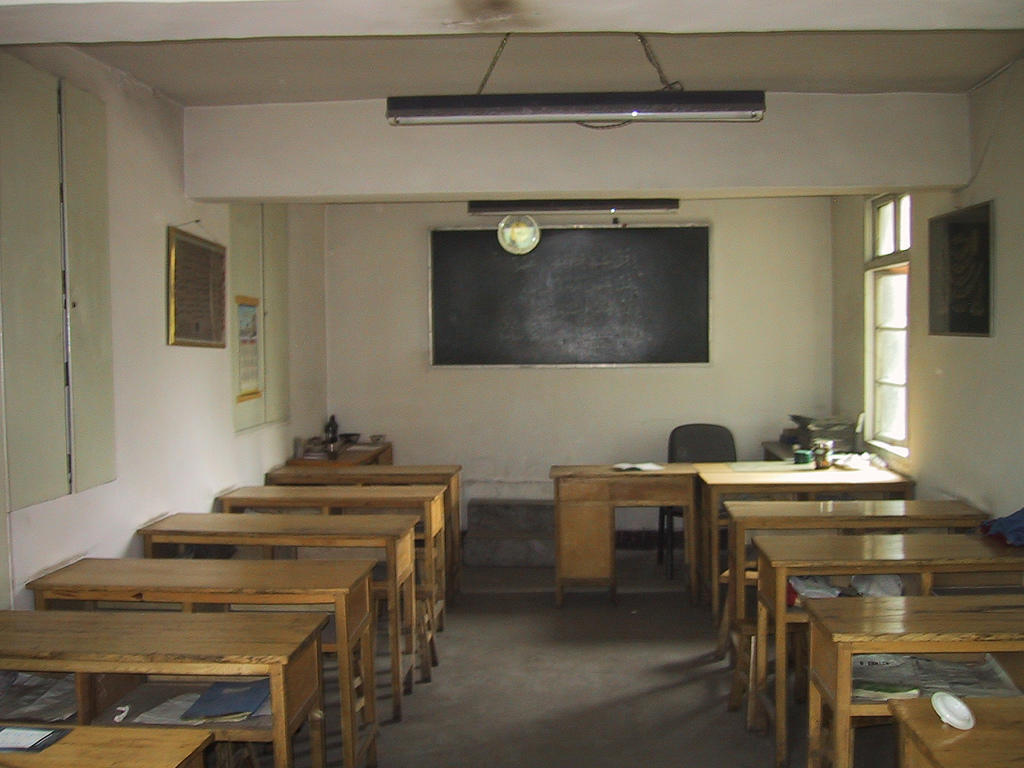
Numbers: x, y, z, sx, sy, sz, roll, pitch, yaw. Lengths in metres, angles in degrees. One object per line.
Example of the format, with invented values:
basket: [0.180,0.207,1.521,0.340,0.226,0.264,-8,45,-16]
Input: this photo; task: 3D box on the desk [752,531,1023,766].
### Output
desk: [1.535,1.082,3.493,0.961,0.847,0.690,-1,11,-1]

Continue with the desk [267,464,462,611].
desk: [-1.002,1.140,6.011,1.817,1.121,0.829,0,10,1]

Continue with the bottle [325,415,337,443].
bottle: [-1.428,0.371,6.760,0.088,0.082,0.203,0,-37,-22]

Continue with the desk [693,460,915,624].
desk: [1.863,1.095,5.342,1.270,0.665,0.799,-2,27,7]

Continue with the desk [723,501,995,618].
desk: [1.882,1.002,4.855,1.296,0.598,0.680,-1,-1,11]

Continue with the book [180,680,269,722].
book: [-1.031,1.164,3.160,0.285,0.060,0.233,1,8,8]

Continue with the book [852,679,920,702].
book: [1.433,1.188,3.295,0.182,0.041,0.126,-1,0,4]

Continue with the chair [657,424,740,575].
chair: [1.447,0.881,6.527,0.734,1.067,0.701,6,0,-7]

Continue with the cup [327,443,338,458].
cup: [-1.356,0.503,6.472,0.083,0.136,0.146,1,0,-12]
